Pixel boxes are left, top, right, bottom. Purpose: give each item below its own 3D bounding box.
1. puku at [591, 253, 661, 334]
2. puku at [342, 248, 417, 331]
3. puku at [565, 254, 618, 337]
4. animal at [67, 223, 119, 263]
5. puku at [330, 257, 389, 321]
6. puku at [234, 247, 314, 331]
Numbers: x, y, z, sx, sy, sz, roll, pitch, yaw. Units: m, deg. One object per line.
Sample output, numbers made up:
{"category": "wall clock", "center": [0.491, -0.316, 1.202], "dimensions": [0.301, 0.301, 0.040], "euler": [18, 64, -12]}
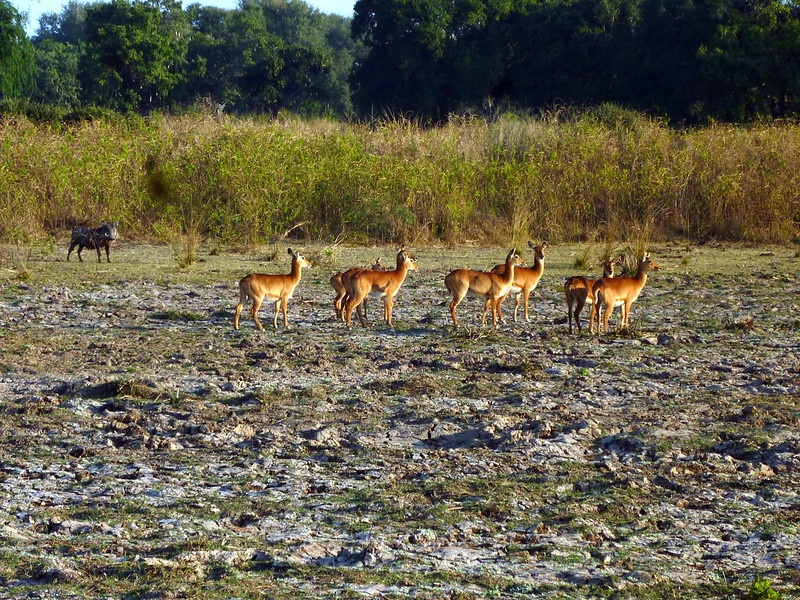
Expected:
{"category": "puku", "center": [3.513, -0.098, 20.000], "dimensions": [0.516, 1.176, 1.344], "euler": [9, 14, 34]}
{"category": "puku", "center": [-0.356, -0.127, 21.224], "dimensions": [1.267, 1.367, 0.348], "euler": [-3, 4, -36]}
{"category": "puku", "center": [3.088, -0.038, 20.253], "dimensions": [0.315, 1.154, 1.344], "euler": [0, 5, 41]}
{"category": "animal", "center": [-6.128, -1.157, 24.808], "dimensions": [1.212, 0.819, 0.295], "euler": [1, 1, 24]}
{"category": "puku", "center": [-0.571, -0.161, 20.672], "dimensions": [0.337, 1.245, 1.428], "euler": [10, 4, 21]}
{"category": "puku", "center": [-2.017, -0.159, 19.911], "dimensions": [1.413, 1.291, 0.419], "euler": [-4, 3, -37]}
